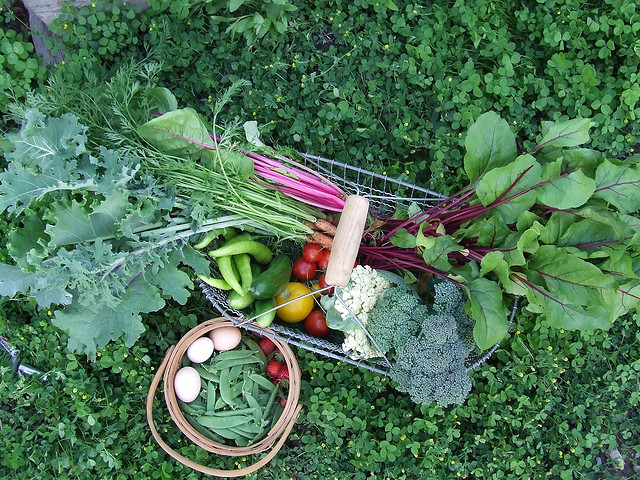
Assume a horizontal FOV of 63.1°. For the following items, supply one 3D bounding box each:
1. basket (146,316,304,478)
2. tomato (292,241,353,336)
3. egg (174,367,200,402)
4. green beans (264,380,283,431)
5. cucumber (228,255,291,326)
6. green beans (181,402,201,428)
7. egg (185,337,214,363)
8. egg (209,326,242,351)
[{"bbox_3d":[-0.450,0.838,2.826,0.732,0.239,0.801,43,90,-6],"label":"basket"},{"bbox_3d":[-0.032,0.248,2.605,0.226,0.175,0.445,-1,95,-4],"label":"tomato"},{"bbox_3d":[-0.665,0.724,2.618,0.117,0.086,0.171,-3,94,-12],"label":"egg"},{"bbox_3d":[-0.236,0.858,2.692,0.044,0.040,0.236,14,79,9],"label":"green beans"},{"bbox_3d":[-0.291,0.264,2.586,0.204,0.133,0.368,28,81,-8],"label":"cucumber"},{"bbox_3d":[-0.657,0.891,2.639,0.036,0.022,0.153,-40,93,-3],"label":"green beans"},{"bbox_3d":[-0.604,0.553,2.678,0.124,0.104,0.114,-16,91,22],"label":"egg"},{"bbox_3d":[-0.481,0.503,2.666,0.136,0.107,0.128,3,87,-10],"label":"egg"}]
